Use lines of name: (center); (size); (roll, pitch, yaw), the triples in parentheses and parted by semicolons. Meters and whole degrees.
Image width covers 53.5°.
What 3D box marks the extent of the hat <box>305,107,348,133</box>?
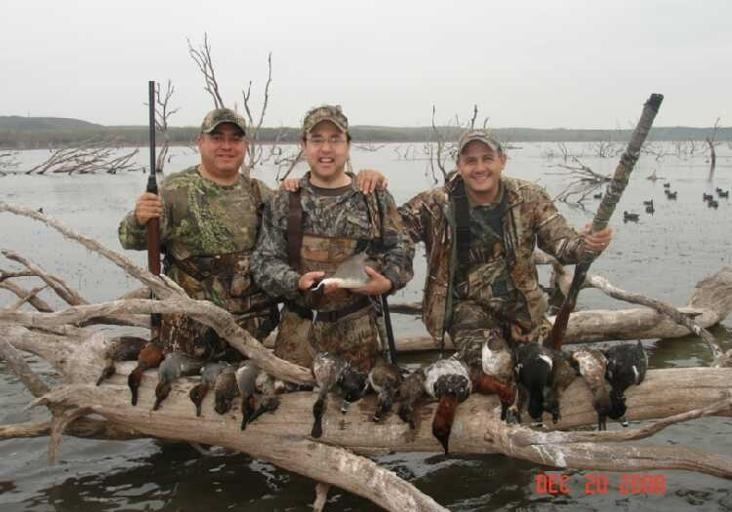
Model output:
hat: (-0.556, -1.812, 9.603); (0.597, 0.354, 0.329); (2, 12, 3)
